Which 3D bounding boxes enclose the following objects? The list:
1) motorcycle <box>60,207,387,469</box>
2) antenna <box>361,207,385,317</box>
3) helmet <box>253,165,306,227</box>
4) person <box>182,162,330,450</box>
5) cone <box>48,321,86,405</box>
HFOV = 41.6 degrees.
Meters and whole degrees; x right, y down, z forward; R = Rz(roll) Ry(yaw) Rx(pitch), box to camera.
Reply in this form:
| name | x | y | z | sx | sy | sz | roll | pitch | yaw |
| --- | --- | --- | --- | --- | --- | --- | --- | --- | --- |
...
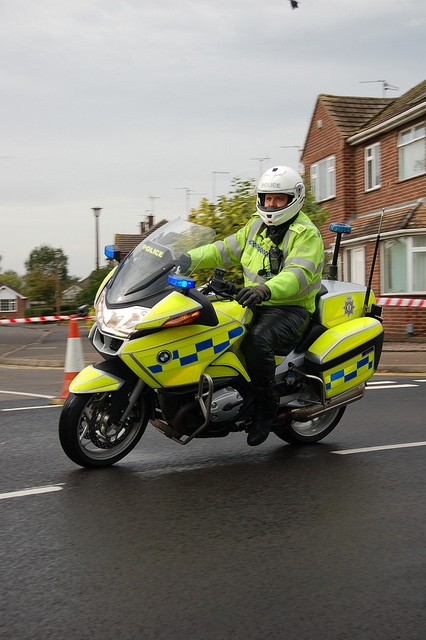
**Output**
| name | x | y | z | sx | sy | sz | roll | pitch | yaw |
| --- | --- | --- | --- | --- | --- | --- | --- | --- | --- |
| motorcycle | 0.160 | 0.100 | 4.319 | 2.782 | 1.865 | 0.966 | -4 | 8 | -34 |
| antenna | 1.415 | -0.428 | 4.976 | 0.223 | 1.217 | 0.327 | 2 | 13 | 8 |
| helmet | 0.539 | -1.012 | 4.468 | 0.389 | 0.428 | 0.487 | 1 | 21 | 16 |
| person | 0.229 | -0.135 | 4.335 | 1.362 | 2.026 | 1.136 | 0 | 8 | -12 |
| cone | -1.880 | 0.599 | 7.382 | 0.546 | 1.150 | 0.650 | 0 | 14 | -23 |
